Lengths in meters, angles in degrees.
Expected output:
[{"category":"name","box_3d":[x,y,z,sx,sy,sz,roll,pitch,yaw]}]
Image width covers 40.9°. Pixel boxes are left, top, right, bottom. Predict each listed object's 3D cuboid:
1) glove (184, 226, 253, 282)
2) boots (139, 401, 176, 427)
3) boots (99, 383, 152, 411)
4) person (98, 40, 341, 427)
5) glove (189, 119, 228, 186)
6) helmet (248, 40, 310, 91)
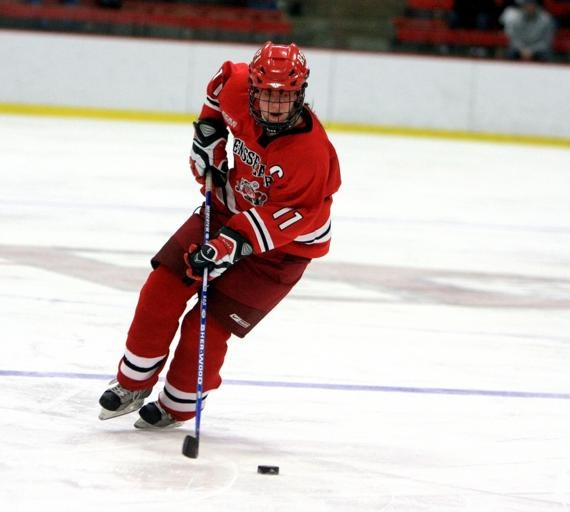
[{"category":"glove","box_3d":[-0.230,-0.003,2.669,0.282,0.151,0.106,-29,-7,1]},{"category":"boots","box_3d":[-0.462,0.603,2.909,0.083,0.055,0.165,21,8,28]},{"category":"boots","box_3d":[-0.597,0.537,2.903,0.229,0.100,0.074,-5,56,-57]},{"category":"person","box_3d":[-0.170,-0.062,2.906,0.657,1.487,0.555,14,12,1]},{"category":"glove","box_3d":[-0.277,-0.411,3.057,0.237,0.226,0.126,1,-4,3]},{"category":"helmet","box_3d":[0.035,-0.671,2.738,0.256,0.180,0.215,5,-1,4]}]
